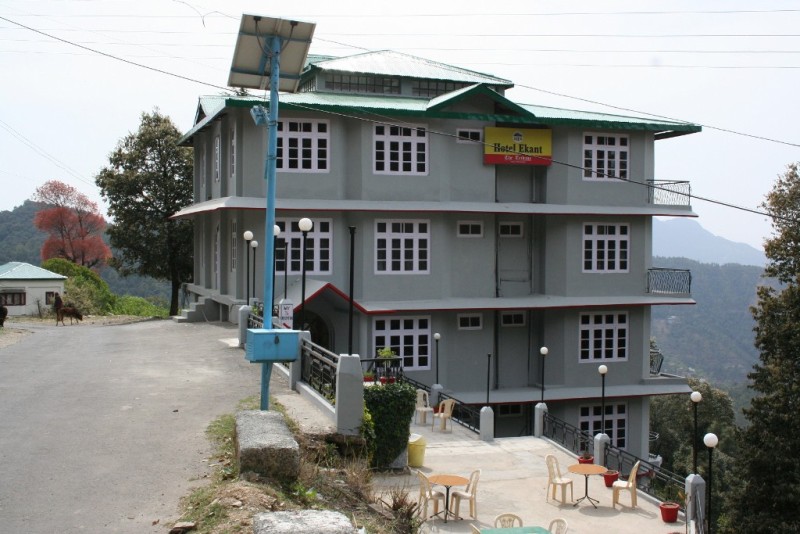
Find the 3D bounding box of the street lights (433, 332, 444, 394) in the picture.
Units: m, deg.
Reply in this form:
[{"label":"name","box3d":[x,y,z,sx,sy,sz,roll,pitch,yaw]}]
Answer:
[{"label":"street lights","box3d":[2.075,4.976,47.001,0.579,3.181,0.623,4,0,-18]}]

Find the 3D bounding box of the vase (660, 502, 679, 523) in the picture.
[{"label":"vase","box3d":[11.058,10.049,34.756,0.636,0.562,0.742,0,1,0]}]
